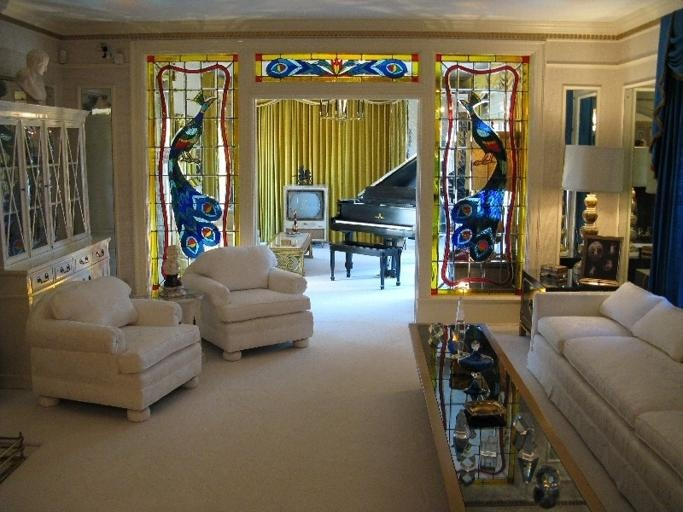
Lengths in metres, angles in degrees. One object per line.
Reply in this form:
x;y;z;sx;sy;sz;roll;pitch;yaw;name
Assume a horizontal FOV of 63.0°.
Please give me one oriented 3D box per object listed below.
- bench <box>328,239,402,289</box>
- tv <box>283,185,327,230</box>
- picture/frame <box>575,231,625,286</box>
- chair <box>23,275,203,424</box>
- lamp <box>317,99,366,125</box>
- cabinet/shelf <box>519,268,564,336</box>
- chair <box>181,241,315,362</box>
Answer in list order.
0.416;0.106;8.247;1.069;0.611;0.484;4;10;23;bench
-0.686;-0.884;10.986;0.882;0.849;0.718;2;-13;-12;tv
2.561;0.037;5.514;0.462;0.633;0.090;6;-3;13;picture/frame
-1.845;0.709;4.649;1.324;0.919;1.326;-3;9;-35;chair
0.024;-2.688;10.289;0.830;0.422;1.353;0;13;2;lamp
1.901;0.432;5.277;0.313;0.526;0.610;-1;13;1;cabinet/shelf
-0.954;0.398;5.652;1.023;0.947;1.148;-6;12;-40;chair
